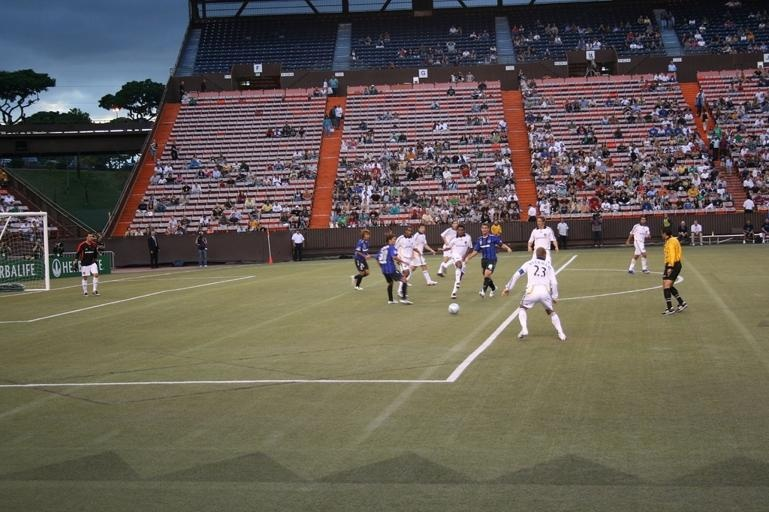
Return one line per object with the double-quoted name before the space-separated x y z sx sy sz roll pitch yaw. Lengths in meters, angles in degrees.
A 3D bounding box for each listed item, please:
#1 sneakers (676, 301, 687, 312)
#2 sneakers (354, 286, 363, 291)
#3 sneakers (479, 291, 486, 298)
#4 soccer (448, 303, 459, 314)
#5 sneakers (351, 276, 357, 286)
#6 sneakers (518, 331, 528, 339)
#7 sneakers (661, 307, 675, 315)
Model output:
"sneakers" 8.652 1.481 21.674 0.246 0.202 0.575 42 13 7
"sneakers" -1.011 1.266 29.106 0.327 0.130 0.119 1 6 28
"sneakers" 3.372 1.329 25.577 0.225 0.259 0.679 2 3 8
"soccer" 2.045 1.564 22.104 0.318 0.287 0.291 14 -43 -44
"sneakers" -1.161 0.993 29.360 0.188 0.400 0.185 -10 7 -21
"sneakers" 3.467 1.965 18.586 0.226 0.144 0.351 2 -3 8
"sneakers" 8.110 1.563 21.229 0.390 0.154 0.154 -1 1 21
